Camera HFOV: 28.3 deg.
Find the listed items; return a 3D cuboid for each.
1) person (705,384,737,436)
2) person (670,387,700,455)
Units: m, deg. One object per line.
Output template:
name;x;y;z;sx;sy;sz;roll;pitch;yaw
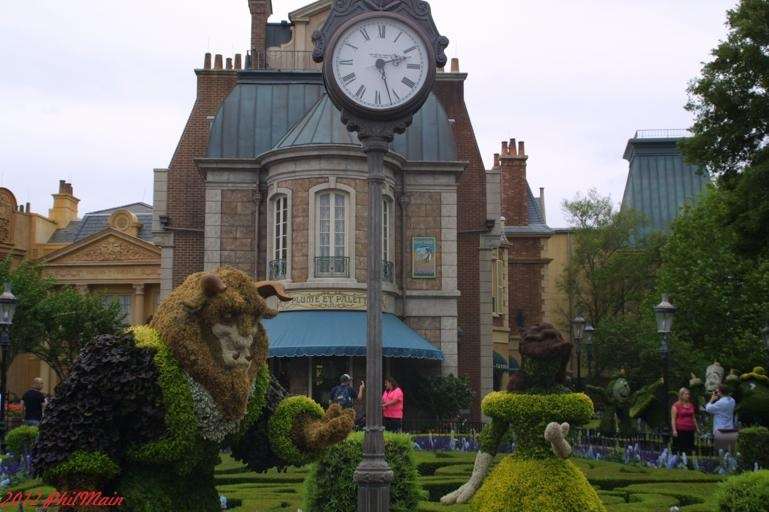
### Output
person;10.059;4.638;45.655;0.837;1.541;1.108;0;-6;12
person;8.956;5.019;45.912;0.674;2.033;1.170;-1;-6;17
